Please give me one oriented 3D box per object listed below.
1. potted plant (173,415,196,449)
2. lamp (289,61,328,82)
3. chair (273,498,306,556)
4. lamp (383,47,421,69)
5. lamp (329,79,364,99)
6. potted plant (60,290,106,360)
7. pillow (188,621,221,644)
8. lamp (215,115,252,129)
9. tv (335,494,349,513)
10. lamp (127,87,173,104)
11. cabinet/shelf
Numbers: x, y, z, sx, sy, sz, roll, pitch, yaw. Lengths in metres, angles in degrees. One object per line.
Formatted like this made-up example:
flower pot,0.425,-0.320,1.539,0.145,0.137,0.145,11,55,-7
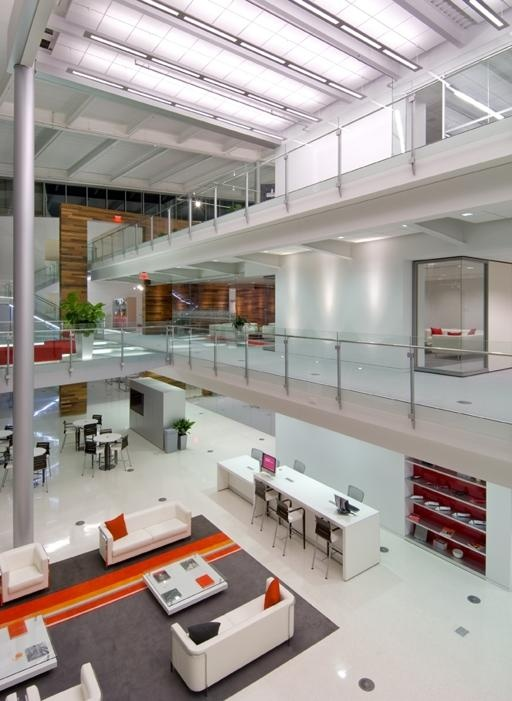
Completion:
potted plant,-1.984,2.157,13.334,0.697,0.964,0.675,3,-5,-34
lamp,0.816,-4.383,7.949,0.816,0.115,0.052,10,28,-39
chair,0.549,2.847,8.310,0.449,0.808,0.392,-5,9,-38
lamp,2.133,-4.282,7.436,0.921,0.080,0.188,-4,9,-40
lamp,1.479,-4.492,8.705,0.836,0.142,0.347,-3,8,-30
potted plant,-3.904,-0.584,11.489,0.833,1.311,2.341,-1,7,-20
pillow,-0.539,2.869,5.312,0.319,0.224,0.176,-7,-26,-22
lamp,-0.458,-4.588,10.152,0.716,0.028,0.103,5,-34,-46
tv,1.343,2.327,7.762,0.202,0.238,0.246,-4,5,-39
lamp,-1.877,-4.487,8.910,0.227,0.067,0.926,8,9,44
cabinet/shelf,3.098,2.599,8.104,0.409,1.398,1.627,-4,4,-27
